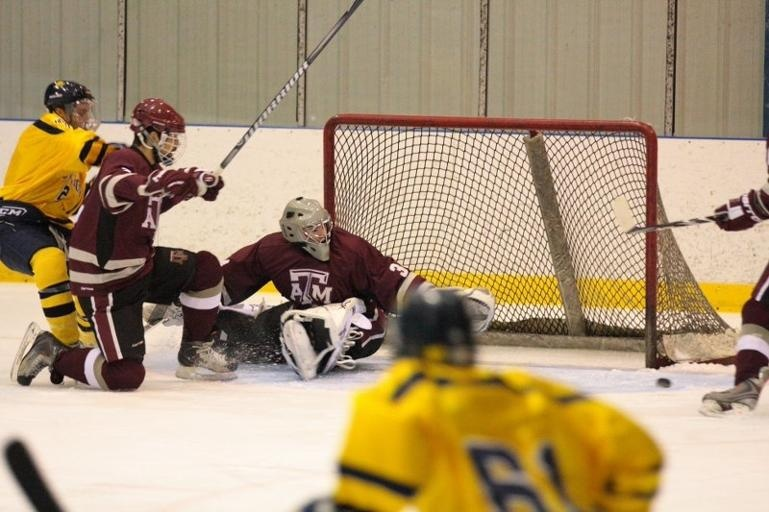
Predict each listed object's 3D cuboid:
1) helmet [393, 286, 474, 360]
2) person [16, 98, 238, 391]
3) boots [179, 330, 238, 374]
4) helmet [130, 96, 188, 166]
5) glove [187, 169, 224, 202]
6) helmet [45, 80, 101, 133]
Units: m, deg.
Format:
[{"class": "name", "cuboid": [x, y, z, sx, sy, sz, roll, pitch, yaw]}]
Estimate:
[{"class": "helmet", "cuboid": [0.286, 0.303, 5.388, 0.337, 0.329, 0.311, -2, 2, 39]}, {"class": "person", "cuboid": [-1.558, -0.084, 7.315, 1.315, 1.816, 0.571, 2, 4, -11]}, {"class": "boots", "cuboid": [-1.105, 0.647, 7.587, 0.451, 0.272, 0.232, 2, 6, 15]}, {"class": "helmet", "cuboid": [-1.407, -0.783, 7.335, 0.425, 0.387, 0.301, 9, 15, -20]}, {"class": "glove", "cuboid": [-1.071, -0.442, 7.270, 0.150, 0.175, 0.268, 2, 3, 1]}, {"class": "helmet", "cuboid": [-2.049, -1.029, 7.870, 0.374, 0.332, 0.272, -5, 10, -19]}]
